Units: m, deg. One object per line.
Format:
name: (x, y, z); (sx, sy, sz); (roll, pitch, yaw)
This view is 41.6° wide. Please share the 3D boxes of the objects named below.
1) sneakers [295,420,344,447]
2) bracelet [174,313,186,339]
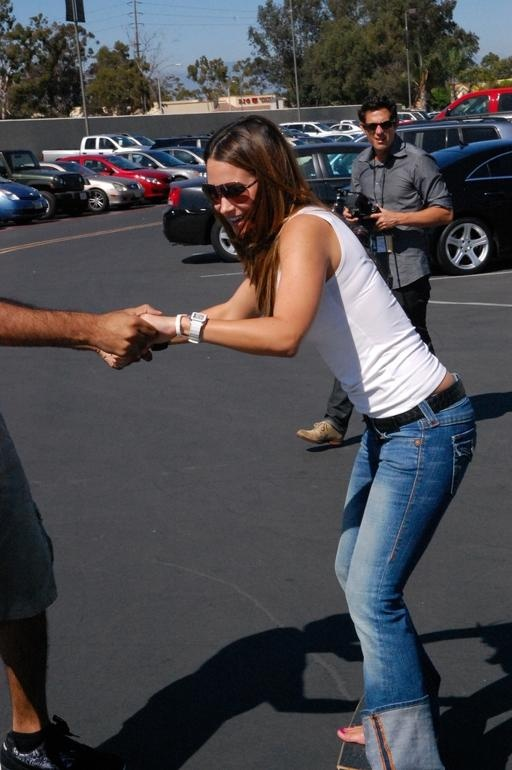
sneakers: (0.447, 0.320, 4.439); (0.363, 0.162, 0.135); (9, 3, -11)
bracelet: (-0.182, -0.144, 1.596); (0.021, 0.047, 0.037); (6, -4, -15)
